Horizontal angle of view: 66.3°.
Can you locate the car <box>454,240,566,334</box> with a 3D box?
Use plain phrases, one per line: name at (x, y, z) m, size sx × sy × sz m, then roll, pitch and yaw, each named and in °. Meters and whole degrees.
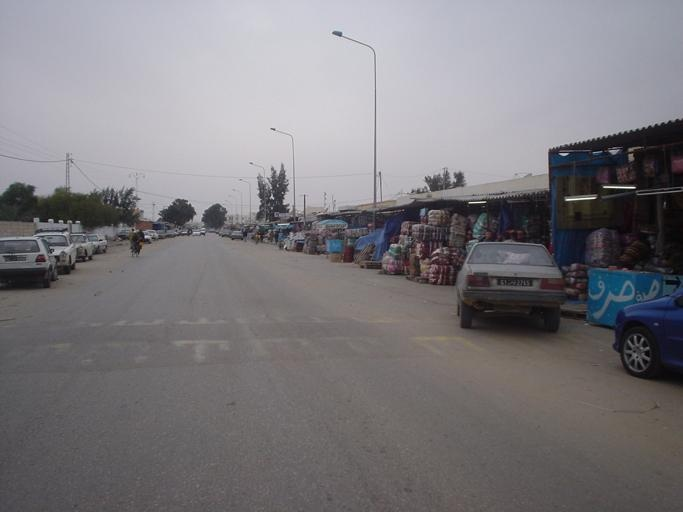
car at (3.162, 0.507, 9.728) m, size 1.194 × 1.188 × 2.398 m, roll 0°, pitch 3°, yaw 1°
